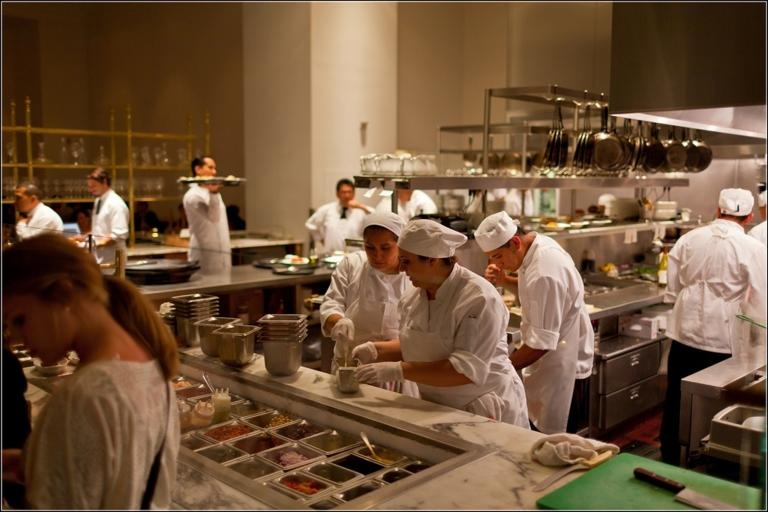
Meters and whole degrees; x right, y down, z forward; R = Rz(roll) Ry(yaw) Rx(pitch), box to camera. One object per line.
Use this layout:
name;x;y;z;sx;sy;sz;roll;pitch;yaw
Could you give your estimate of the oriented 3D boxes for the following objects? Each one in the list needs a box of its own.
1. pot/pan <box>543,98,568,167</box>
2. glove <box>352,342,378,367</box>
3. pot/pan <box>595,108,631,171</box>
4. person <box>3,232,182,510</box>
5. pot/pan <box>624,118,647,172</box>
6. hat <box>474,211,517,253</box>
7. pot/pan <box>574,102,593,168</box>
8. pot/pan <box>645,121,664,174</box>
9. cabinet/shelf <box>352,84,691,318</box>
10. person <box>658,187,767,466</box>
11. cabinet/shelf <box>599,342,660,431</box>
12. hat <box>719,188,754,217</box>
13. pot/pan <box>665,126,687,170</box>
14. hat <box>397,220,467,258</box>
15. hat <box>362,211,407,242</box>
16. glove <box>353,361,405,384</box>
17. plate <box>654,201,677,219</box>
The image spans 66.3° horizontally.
pot/pan;1.305;-0.912;4.524;0.174;0.526;0.931;-2;7;16
glove;-0.101;0.480;2.901;0.124;0.088;0.046;-12;29;11
pot/pan;1.576;-0.797;4.104;0.228;0.424;0.399;0;8;28
person;-0.882;0.388;1.809;0.479;0.917;0.251;-7;8;-20
pot/pan;1.825;-0.783;4.285;0.083;0.566;0.333;-1;-3;28
hat;0.633;-0.124;3.393;0.255;0.138;0.187;-35;27;8
pot/pan;1.604;-0.947;4.761;0.143;0.541;1.426;-2;7;19
pot/pan;2.028;-0.800;4.449;0.172;0.351;0.197;-3;7;6
cabinet/shelf;1.175;-0.427;4.702;1.495;1.764;2.834;3;5;45
person;2.285;0.479;4.141;0.676;1.837;0.786;-1;8;20
cabinet/shelf;1.936;1.026;4.688;0.717;0.474;0.407;-9;7;-44
hat;2.567;-0.372;4.282;0.186;0.143;0.241;18;41;38
pot/pan;2.187;-0.799;4.473;0.189;0.299;0.112;-5;6;-7
hat;0.224;-0.084;2.755;0.255;0.121;0.186;-1;9;-9
hat;0.021;-0.159;3.156;0.163;0.094;0.190;1;-6;17
glove;-0.016;0.565;2.776;0.162;0.053;0.117;2;7;11
plate;2.826;-0.443;5.937;0.196;0.132;0.188;1;1;-22
